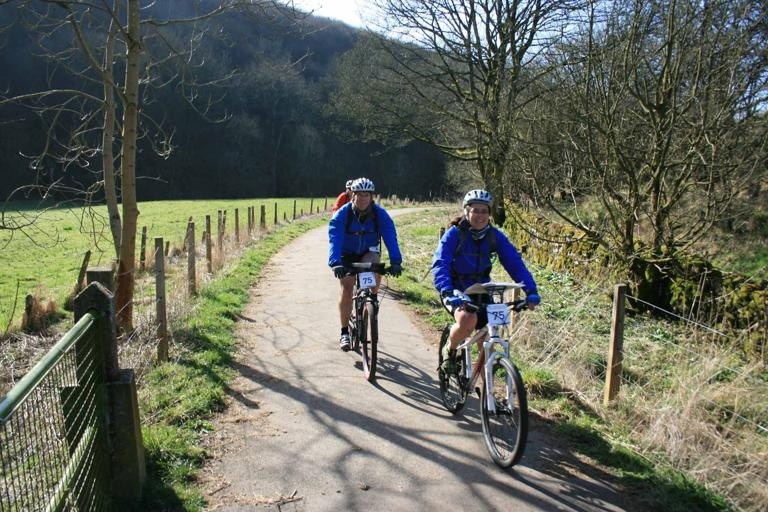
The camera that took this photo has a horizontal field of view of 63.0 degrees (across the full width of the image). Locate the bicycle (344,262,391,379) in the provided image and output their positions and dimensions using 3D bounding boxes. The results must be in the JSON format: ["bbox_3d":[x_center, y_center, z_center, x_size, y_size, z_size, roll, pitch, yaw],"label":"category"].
[{"bbox_3d":[-0.315,1.028,10.577,0.614,1.852,1.243,-4,11,-32],"label":"bicycle"}]

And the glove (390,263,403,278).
[{"bbox_3d":[0.187,0.222,10.514,0.197,0.187,0.297,1,11,-2],"label":"glove"}]

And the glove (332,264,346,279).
[{"bbox_3d":[-0.729,0.255,10.383,0.227,0.211,0.309,1,11,-3],"label":"glove"}]
